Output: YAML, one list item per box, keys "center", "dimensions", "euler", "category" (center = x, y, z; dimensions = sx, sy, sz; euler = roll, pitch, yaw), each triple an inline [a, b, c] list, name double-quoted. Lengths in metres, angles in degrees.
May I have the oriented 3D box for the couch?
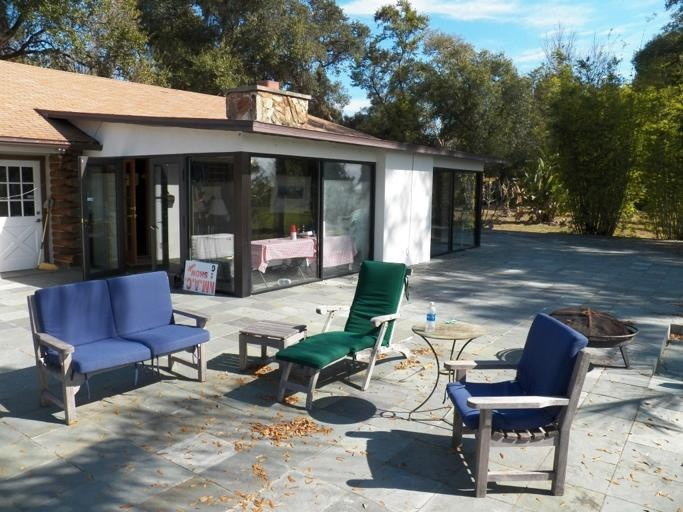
- center: [-2.455, 0.909, 5.526]
  dimensions: [1.572, 1.263, 0.948]
  euler: [-11, 18, -43]
  category: "couch"

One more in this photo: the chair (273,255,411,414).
- center: [0.047, 0.845, 6.022]
  dimensions: [0.982, 1.172, 1.936]
  euler: [10, 17, 34]
  category: "chair"

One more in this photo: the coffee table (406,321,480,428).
- center: [1.168, 1.231, 5.725]
  dimensions: [1.214, 0.988, 1.025]
  euler: [0, 4, -3]
  category: "coffee table"

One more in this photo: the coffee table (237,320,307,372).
- center: [-0.912, 1.066, 6.222]
  dimensions: [0.786, 0.431, 0.688]
  euler: [2, 6, 26]
  category: "coffee table"

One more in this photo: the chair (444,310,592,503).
- center: [1.457, 1.237, 4.247]
  dimensions: [0.955, 1.336, 0.868]
  euler: [1, 14, -2]
  category: "chair"
